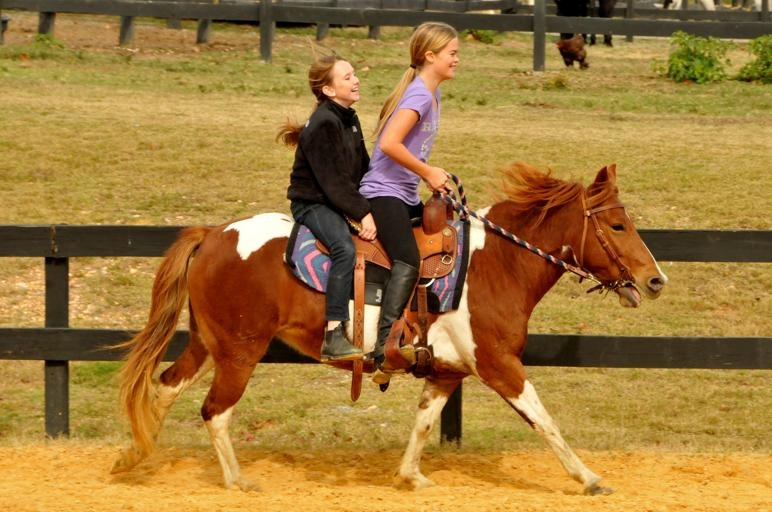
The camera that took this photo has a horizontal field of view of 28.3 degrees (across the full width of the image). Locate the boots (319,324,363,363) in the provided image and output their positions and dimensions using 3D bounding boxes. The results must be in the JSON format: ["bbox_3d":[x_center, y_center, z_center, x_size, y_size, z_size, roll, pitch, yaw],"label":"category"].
[{"bbox_3d":[-0.497,0.973,17.394,0.269,0.387,0.662,0,-3,-35],"label":"boots"}]

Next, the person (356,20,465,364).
[{"bbox_3d":[0.293,-0.756,17.562,1.059,3.775,1.004,-2,15,-32],"label":"person"}]
